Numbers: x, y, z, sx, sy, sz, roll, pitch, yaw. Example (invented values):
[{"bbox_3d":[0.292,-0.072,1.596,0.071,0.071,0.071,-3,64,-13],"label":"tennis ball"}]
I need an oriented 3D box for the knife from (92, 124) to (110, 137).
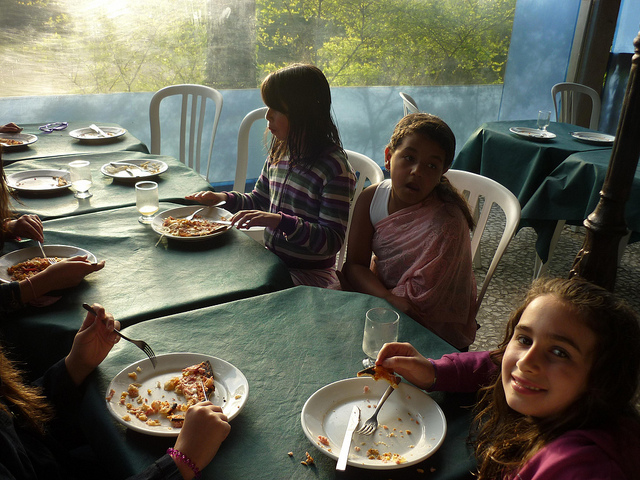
[{"bbox_3d":[-1.386,-0.689,2.765,0.155,0.026,0.046,45,49,16],"label":"knife"}]

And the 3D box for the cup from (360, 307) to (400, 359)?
[{"bbox_3d":[0.135,0.245,1.154,0.108,0.125,0.113,4,21,-1],"label":"cup"}]

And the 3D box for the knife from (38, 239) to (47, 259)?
[{"bbox_3d":[-0.948,0.031,1.491,0.009,0.010,0.088,21,24,-48],"label":"knife"}]

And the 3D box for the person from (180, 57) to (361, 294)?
[{"bbox_3d":[-0.234,-0.115,2.104,0.798,1.366,0.664,13,22,28],"label":"person"}]

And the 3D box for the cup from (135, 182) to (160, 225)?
[{"bbox_3d":[-0.705,-0.152,1.778,0.087,0.144,0.087,5,15,-1],"label":"cup"}]

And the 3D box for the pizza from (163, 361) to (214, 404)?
[{"bbox_3d":[-0.300,0.332,1.023,0.128,0.025,0.090,-31,34,13],"label":"pizza"}]

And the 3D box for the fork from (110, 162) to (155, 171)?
[{"bbox_3d":[-0.962,-0.375,2.238,0.192,0.035,0.029,9,43,-19],"label":"fork"}]

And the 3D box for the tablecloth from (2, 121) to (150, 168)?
[{"bbox_3d":[-1.442,-0.557,2.573,0.633,0.148,0.625,-12,30,-34],"label":"tablecloth"}]

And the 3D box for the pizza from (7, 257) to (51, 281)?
[{"bbox_3d":[-0.933,0.102,1.403,0.104,0.033,0.075,-12,34,26],"label":"pizza"}]

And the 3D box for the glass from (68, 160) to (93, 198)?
[{"bbox_3d":[-1.058,-0.271,1.935,0.082,0.157,0.118,-10,22,-29],"label":"glass"}]

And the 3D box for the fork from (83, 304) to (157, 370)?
[{"bbox_3d":[-0.508,0.249,1.107,0.202,0.027,0.023,41,3,19],"label":"fork"}]

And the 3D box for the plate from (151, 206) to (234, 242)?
[{"bbox_3d":[-0.540,-0.089,1.828,0.202,0.027,0.199,-12,34,-25],"label":"plate"}]

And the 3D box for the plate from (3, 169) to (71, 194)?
[{"bbox_3d":[-1.274,-0.261,1.989,0.243,0.077,0.319,-10,22,-31],"label":"plate"}]

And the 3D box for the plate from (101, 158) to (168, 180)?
[{"bbox_3d":[-0.926,-0.347,2.190,0.199,0.029,0.194,-19,34,-37],"label":"plate"}]

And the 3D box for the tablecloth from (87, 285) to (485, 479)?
[{"bbox_3d":[-0.073,0.313,1.074,0.482,0.125,0.495,-12,32,-31],"label":"tablecloth"}]

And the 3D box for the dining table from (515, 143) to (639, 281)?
[{"bbox_3d":[1.696,-0.150,2.919,0.619,0.843,0.819,8,20,19],"label":"dining table"}]

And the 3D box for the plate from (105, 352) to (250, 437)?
[{"bbox_3d":[-0.315,0.341,0.978,0.309,0.078,0.205,1,19,-1],"label":"plate"}]

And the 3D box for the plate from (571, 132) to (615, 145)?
[{"bbox_3d":[2.096,-0.783,3.365,0.276,0.063,0.378,12,21,29],"label":"plate"}]

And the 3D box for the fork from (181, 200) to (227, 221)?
[{"bbox_3d":[-0.478,-0.128,1.889,0.231,0.034,0.046,-21,43,-34],"label":"fork"}]

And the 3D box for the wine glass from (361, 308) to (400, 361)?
[{"bbox_3d":[0.139,0.239,1.169,0.110,0.126,0.114,4,18,-2],"label":"wine glass"}]

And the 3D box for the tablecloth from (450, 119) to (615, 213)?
[{"bbox_3d":[1.632,-0.714,3.388,0.993,0.503,0.987,-17,31,-27],"label":"tablecloth"}]

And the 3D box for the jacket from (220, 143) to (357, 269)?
[{"bbox_3d":[-0.218,-0.188,2.071,0.422,0.644,0.492,-14,28,-32],"label":"jacket"}]

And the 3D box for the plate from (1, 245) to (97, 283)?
[{"bbox_3d":[-0.945,0.067,1.476,0.170,0.026,0.174,26,36,34],"label":"plate"}]
